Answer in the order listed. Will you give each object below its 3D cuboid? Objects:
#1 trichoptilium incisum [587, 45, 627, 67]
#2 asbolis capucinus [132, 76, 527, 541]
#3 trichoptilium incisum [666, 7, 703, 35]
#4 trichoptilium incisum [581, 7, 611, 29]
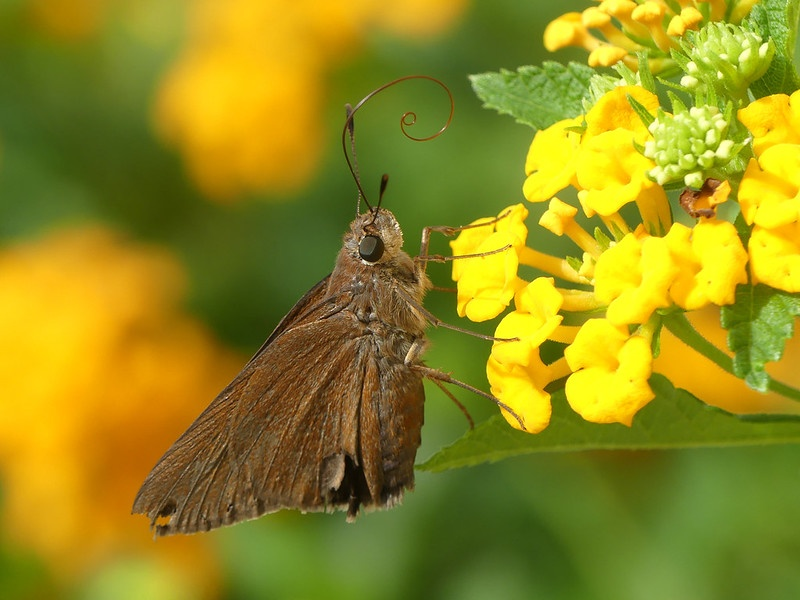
[{"bbox_3d":[0.623,-0.755,2.722,0.078,0.081,0.032,-17,-63,-15],"label":"trichoptilium incisum"},{"bbox_3d":[-0.297,0.147,3.607,1.052,0.942,2.091,4,-75,16],"label":"asbolis capucinus"},{"bbox_3d":[0.836,-0.814,2.628,0.044,0.090,0.078,40,-95,-15],"label":"trichoptilium incisum"},{"bbox_3d":[0.619,-0.890,2.804,0.067,0.020,0.067,-20,-55,20],"label":"trichoptilium incisum"}]
